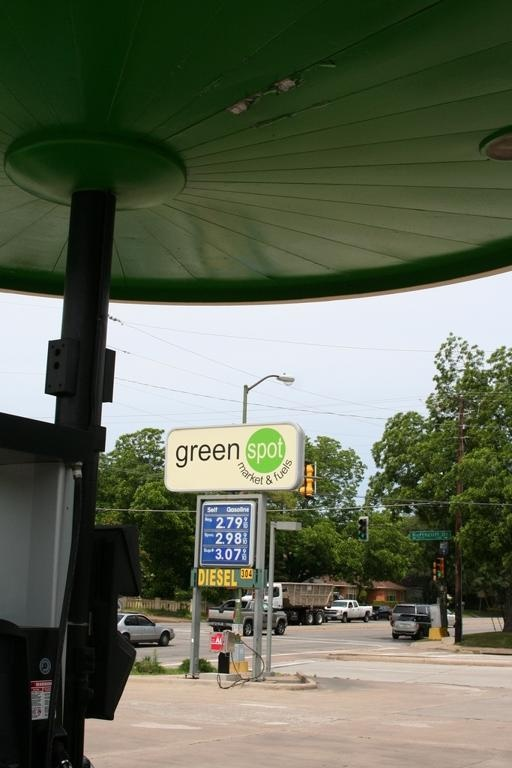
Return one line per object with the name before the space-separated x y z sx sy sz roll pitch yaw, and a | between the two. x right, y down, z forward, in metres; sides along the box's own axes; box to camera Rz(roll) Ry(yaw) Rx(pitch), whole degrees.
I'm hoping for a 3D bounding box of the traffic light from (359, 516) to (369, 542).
traffic light | 4.204 5.735 31.819 0.317 0.643 0.869 -7 -5 13
